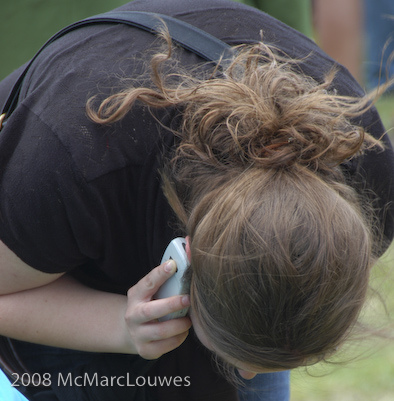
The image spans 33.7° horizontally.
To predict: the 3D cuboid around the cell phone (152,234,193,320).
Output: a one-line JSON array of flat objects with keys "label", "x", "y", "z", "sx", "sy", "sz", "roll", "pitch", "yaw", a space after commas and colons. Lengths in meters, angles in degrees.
[{"label": "cell phone", "x": -0.059, "y": 0.186, "z": 1.603, "sx": 0.064, "sy": 0.230, "sz": 0.098, "roll": -14, "pitch": 50, "yaw": -28}]
